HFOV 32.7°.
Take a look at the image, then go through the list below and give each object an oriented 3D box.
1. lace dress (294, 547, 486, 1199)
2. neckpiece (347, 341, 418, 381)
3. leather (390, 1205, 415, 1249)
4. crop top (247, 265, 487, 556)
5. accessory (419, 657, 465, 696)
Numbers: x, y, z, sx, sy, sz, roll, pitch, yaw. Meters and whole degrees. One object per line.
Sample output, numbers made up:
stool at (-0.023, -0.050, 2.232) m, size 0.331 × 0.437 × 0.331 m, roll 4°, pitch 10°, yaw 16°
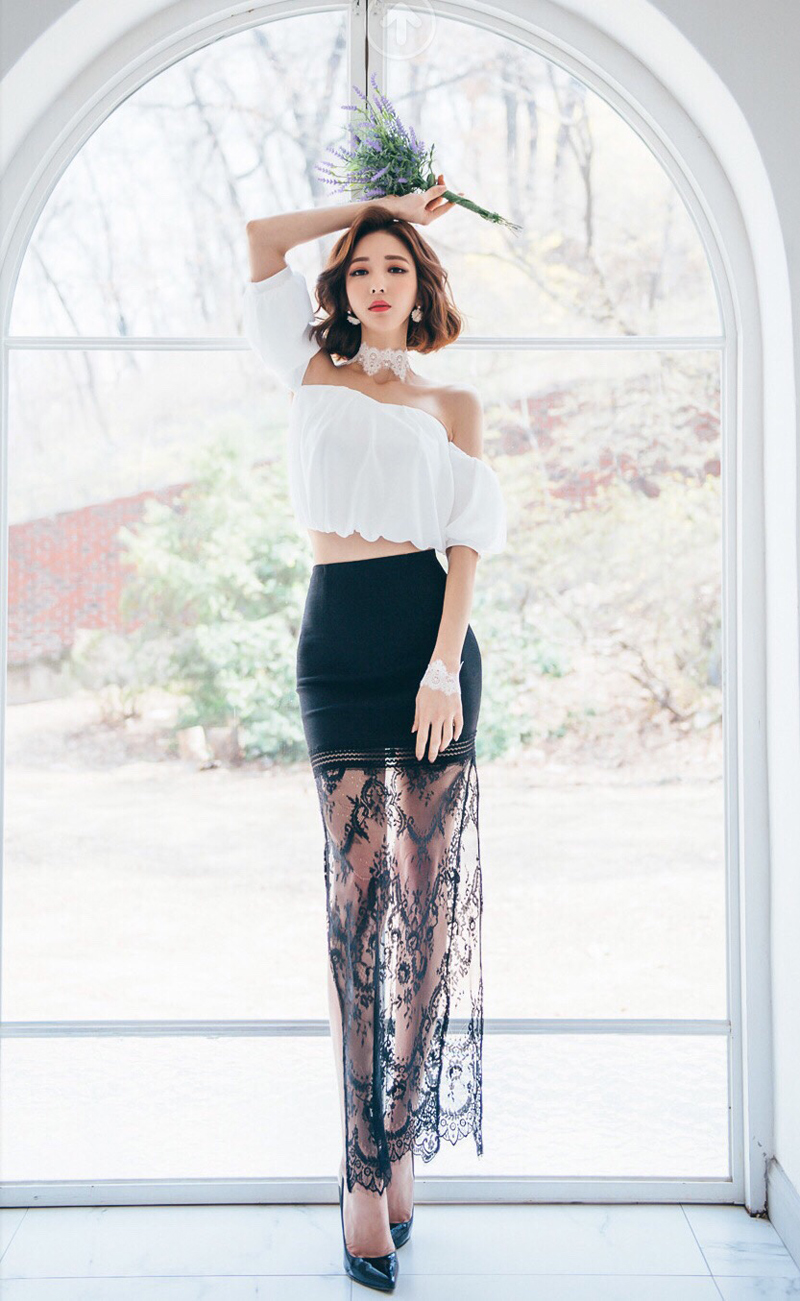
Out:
lace dress at (-0.012, 0.415, 2.537) m, size 0.352 × 1.147 × 0.430 m, roll -1°, pitch 15°, yaw -2°
neckpiece at (-0.040, -0.554, 2.615) m, size 0.102 × 0.086 × 0.036 m, roll 1°, pitch -9°, yaw -11°
leather at (0.002, 1.116, 2.611) m, size 0.028 × 0.031 × 0.080 m, roll 2°, pitch 4°, yaw 2°
crop top at (-0.061, -0.410, 2.627) m, size 0.401 × 0.562 × 0.211 m, roll -6°, pitch -3°, yaw -11°
accessory at (0.073, 0.054, 2.511) m, size 0.070 × 0.069 × 0.036 m, roll -1°, pitch 15°, yaw -4°
